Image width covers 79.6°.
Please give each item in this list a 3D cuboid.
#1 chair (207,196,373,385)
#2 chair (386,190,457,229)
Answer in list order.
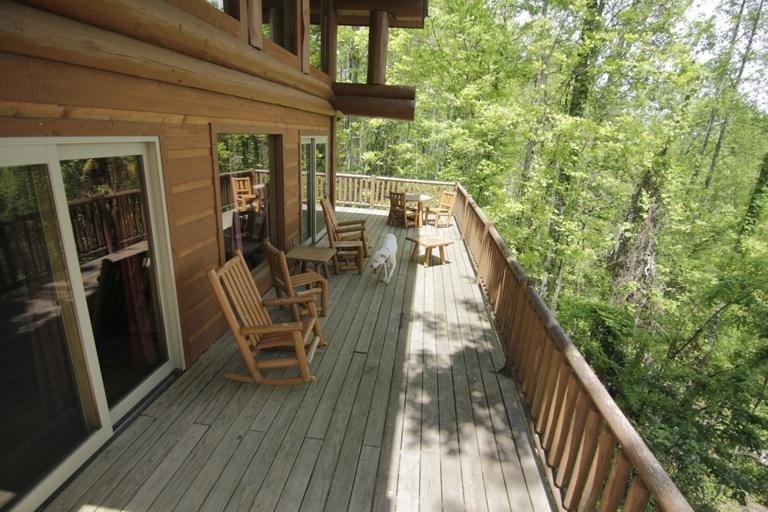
[{"bbox_3d":[-1.445,0.703,6.241,1.255,1.503,1.446,4,19,5],"label":"chair"},{"bbox_3d":[1.059,-1.278,12.336,1.827,1.010,1.145,-15,25,-41],"label":"chair"}]
